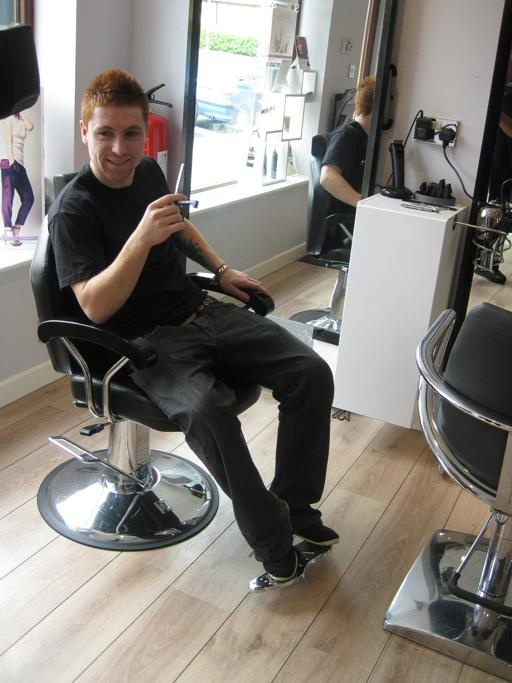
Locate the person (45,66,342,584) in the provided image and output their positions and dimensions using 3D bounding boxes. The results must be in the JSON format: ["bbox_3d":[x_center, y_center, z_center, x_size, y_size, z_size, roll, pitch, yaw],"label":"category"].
[{"bbox_3d":[-0.110,-0.041,1.382,0.834,1.225,0.653,14,26,23],"label":"person"}]

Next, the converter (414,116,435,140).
[{"bbox_3d":[0.638,-0.820,1.956,0.082,0.090,0.055,15,26,24],"label":"converter"}]

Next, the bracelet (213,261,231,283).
[{"bbox_3d":[-0.110,-0.222,1.601,0.038,0.058,0.059,43,33,19],"label":"bracelet"}]

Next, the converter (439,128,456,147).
[{"bbox_3d":[0.721,-0.782,1.938,0.041,0.053,0.030,23,28,1],"label":"converter"}]

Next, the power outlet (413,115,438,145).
[{"bbox_3d":[0.643,-0.817,1.951,0.057,0.107,0.063,-29,43,-28],"label":"power outlet"}]

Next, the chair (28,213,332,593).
[{"bbox_3d":[-0.301,-0.039,1.900,0.927,1.361,0.837,21,30,27],"label":"chair"}]
